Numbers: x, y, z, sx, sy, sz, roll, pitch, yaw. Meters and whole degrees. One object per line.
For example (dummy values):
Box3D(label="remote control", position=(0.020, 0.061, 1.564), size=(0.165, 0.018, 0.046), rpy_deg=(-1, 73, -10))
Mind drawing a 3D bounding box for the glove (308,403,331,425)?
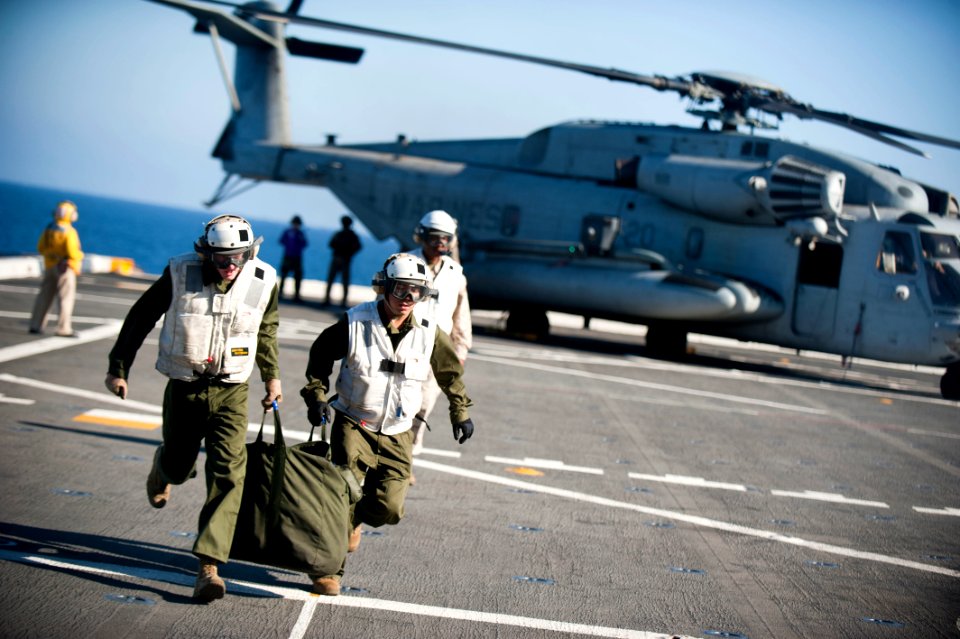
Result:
Box3D(label="glove", position=(-1.301, 0.744, 7.129), size=(0.139, 0.194, 0.172), rpy_deg=(-3, 7, -9))

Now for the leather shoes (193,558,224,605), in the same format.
Box3D(label="leather shoes", position=(-2.026, 1.967, 6.565), size=(0.155, 0.305, 0.426), rpy_deg=(6, -30, -24))

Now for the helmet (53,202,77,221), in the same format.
Box3D(label="helmet", position=(-6.858, -1.868, 14.548), size=(0.341, 0.371, 0.343), rpy_deg=(6, -37, -29))

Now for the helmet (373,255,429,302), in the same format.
Box3D(label="helmet", position=(-0.632, -0.376, 7.333), size=(0.383, 0.419, 0.332), rpy_deg=(9, 28, -13))

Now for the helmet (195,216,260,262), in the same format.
Box3D(label="helmet", position=(-2.055, -0.698, 7.231), size=(0.480, 0.312, 0.562), rpy_deg=(-6, -3, -4))

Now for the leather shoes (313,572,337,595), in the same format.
Box3D(label="leather shoes", position=(-1.250, 2.065, 6.879), size=(0.280, 0.132, 0.097), rpy_deg=(4, 3, 26))

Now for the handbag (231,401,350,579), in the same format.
Box3D(label="handbag", position=(-1.484, 1.388, 6.926), size=(1.085, 1.431, 0.569), rpy_deg=(8, -15, -3))

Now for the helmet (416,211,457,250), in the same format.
Box3D(label="helmet", position=(-0.458, -0.976, 9.433), size=(0.472, 0.441, 0.493), rpy_deg=(15, 12, -1))
